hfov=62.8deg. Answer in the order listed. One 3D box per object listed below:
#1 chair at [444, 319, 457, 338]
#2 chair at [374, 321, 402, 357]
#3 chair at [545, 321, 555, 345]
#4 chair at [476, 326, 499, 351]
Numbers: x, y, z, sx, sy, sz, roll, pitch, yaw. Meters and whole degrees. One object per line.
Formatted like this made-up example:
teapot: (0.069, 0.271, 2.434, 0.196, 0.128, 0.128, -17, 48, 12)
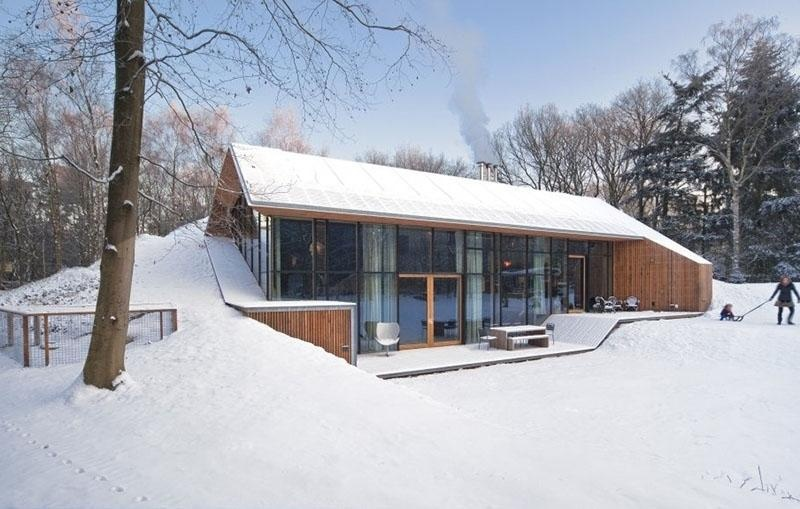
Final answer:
chair: (2.136, 3.059, 26.884, 0.560, 0.755, 0.620, 1, -4, -4)
chair: (-0.464, 3.221, 24.747, 0.916, 1.259, 0.861, 0, 1, 6)
chair: (6.477, 3.340, 27.893, 0.550, 1.022, 0.677, -2, -4, 29)
chair: (3.538, 3.421, 26.667, 0.659, 1.087, 0.737, 0, -2, -35)
